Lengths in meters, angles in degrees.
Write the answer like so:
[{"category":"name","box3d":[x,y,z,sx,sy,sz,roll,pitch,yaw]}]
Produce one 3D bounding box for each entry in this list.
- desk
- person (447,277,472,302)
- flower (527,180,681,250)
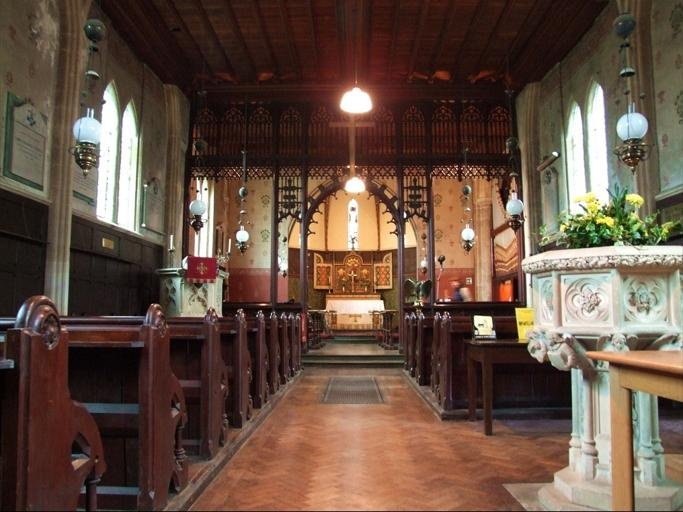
[{"category":"desk","box3d":[1.640,1.367,6.180,0.982,1.085,0.822,2,-12,-8]},{"category":"person","box3d":[2.894,0.830,14.246,0.381,0.688,0.733,-8,4,-11]},{"category":"flower","box3d":[3.092,-0.535,6.751,1.635,0.995,1.346,0,-1,21]}]
